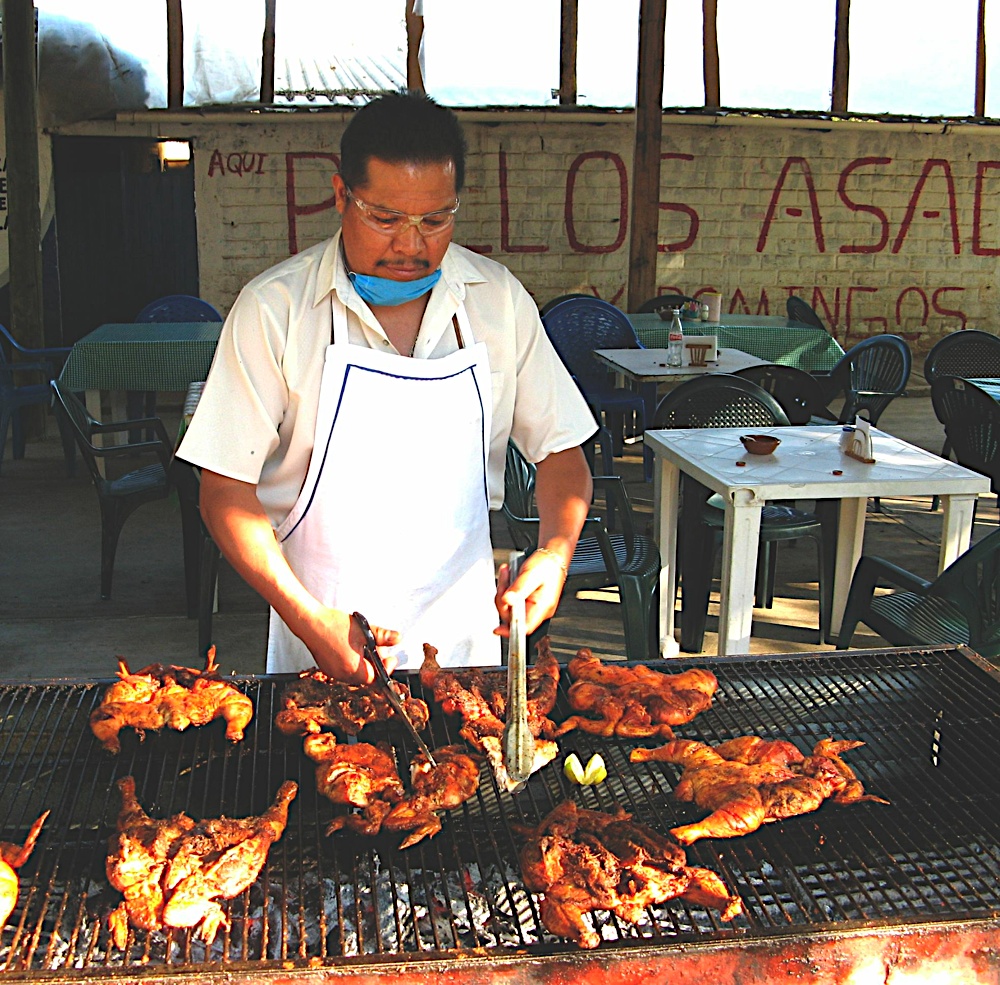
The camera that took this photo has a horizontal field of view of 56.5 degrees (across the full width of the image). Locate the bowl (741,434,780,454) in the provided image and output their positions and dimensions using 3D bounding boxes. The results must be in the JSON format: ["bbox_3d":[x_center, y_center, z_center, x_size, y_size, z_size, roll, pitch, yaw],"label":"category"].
[{"bbox_3d":[1.274,-0.252,4.557,0.166,0.083,0.299,5,16,14],"label":"bowl"}]

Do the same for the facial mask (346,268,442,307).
[{"bbox_3d":[-0.243,-0.468,2.160,0.210,0.084,0.120,0,16,-5],"label":"facial mask"}]

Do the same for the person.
[{"bbox_3d":[-0.258,-0.200,2.290,0.813,1.765,0.738,-1,7,-9],"label":"person"}]

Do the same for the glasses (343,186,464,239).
[{"bbox_3d":[-0.204,-0.593,2.005,0.241,0.092,0.123,-2,16,-10],"label":"glasses"}]

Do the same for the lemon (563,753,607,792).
[{"bbox_3d":[0.169,0.530,1.822,0.090,0.041,0.092,1,15,1],"label":"lemon"}]
